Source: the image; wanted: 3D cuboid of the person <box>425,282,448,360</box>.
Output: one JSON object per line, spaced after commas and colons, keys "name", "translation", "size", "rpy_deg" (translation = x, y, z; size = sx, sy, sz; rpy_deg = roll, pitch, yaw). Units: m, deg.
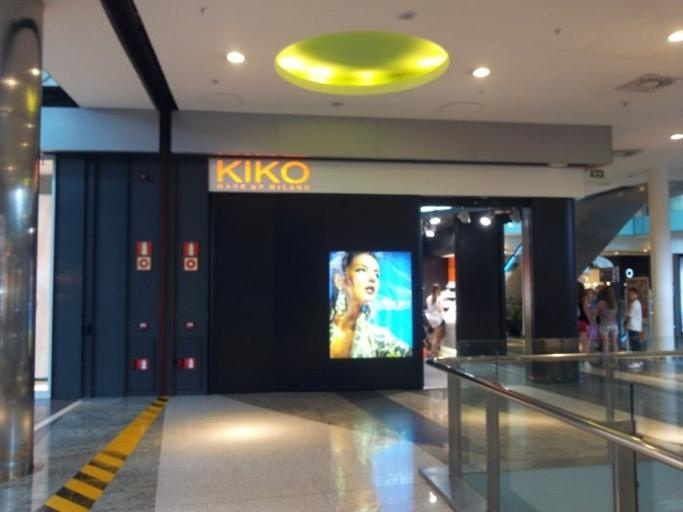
{"name": "person", "translation": [1.988, 1.388, 12.015], "size": [0.421, 1.574, 2.009], "rpy_deg": [0, 2, 10]}
